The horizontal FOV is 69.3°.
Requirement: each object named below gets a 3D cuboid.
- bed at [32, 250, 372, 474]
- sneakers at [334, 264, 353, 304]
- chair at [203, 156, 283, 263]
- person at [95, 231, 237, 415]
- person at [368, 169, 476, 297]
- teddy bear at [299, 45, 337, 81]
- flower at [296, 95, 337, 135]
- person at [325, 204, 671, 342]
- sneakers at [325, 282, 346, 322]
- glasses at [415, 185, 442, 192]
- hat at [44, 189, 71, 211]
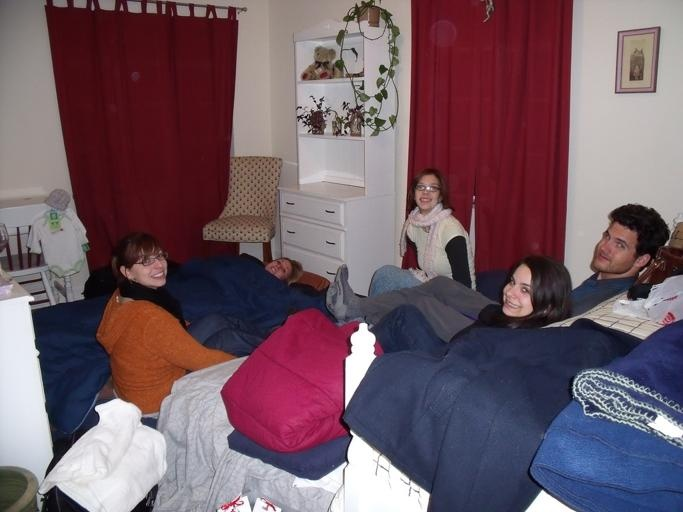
[{"bbox_3d":[-0.765,0.467,2.657,0.939,0.413,1.291,-15,33,-29],"label":"bed"},{"bbox_3d":[0.000,0.152,2.655,0.088,0.074,0.228,30,39,-35],"label":"sneakers"},{"bbox_3d":[-0.838,-0.327,4.628,0.629,1.140,0.783,5,13,16],"label":"chair"},{"bbox_3d":[-0.851,0.314,2.315,0.586,0.799,0.445,15,24,42],"label":"person"},{"bbox_3d":[0.525,0.016,3.226,0.576,1.066,0.696,8,20,30],"label":"person"},{"bbox_3d":[-0.195,-1.656,4.244,0.326,0.364,0.205,8,16,16],"label":"teddy bear"},{"bbox_3d":[-0.241,-1.253,4.393,0.343,0.274,0.365,2,15,3],"label":"flower"},{"bbox_3d":[0.485,0.239,2.168,0.997,0.595,0.417,12,29,-11],"label":"person"},{"bbox_3d":[-0.032,0.245,2.581,0.071,0.111,0.196,-1,59,-27],"label":"sneakers"},{"bbox_3d":[0.548,-0.431,3.132,0.147,0.044,0.026,3,18,12],"label":"glasses"},{"bbox_3d":[-2.075,-0.413,3.637,0.130,0.092,0.166,26,11,-25],"label":"hat"}]
